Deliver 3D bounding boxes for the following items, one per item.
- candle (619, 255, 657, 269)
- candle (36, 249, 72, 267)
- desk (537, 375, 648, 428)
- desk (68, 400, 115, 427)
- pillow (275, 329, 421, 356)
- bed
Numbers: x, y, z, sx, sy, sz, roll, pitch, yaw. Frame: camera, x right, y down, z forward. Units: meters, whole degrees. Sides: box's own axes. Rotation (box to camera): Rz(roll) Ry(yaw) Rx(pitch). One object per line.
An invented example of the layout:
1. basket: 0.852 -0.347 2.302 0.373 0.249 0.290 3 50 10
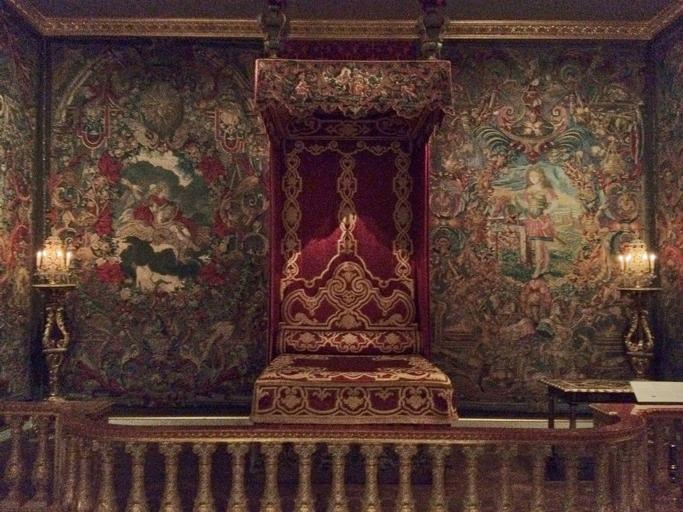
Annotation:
1. candle: 3.361 0.076 15.220 0.414 0.228 0.382 0 -12 11
2. candle: -3.243 0.023 15.014 0.296 0.236 0.274 1 -7 1
3. desk: 2.657 1.585 14.308 0.975 0.531 0.421 1 -12 7
4. desk: -2.517 1.558 13.299 0.403 0.251 0.762 5 -12 -10
5. pillow: 0.083 0.942 14.344 1.403 0.250 0.657 0 -3 -1
6. bed: 0.103 -0.149 14.529 2.512 3.573 1.771 -1 -1 -2
